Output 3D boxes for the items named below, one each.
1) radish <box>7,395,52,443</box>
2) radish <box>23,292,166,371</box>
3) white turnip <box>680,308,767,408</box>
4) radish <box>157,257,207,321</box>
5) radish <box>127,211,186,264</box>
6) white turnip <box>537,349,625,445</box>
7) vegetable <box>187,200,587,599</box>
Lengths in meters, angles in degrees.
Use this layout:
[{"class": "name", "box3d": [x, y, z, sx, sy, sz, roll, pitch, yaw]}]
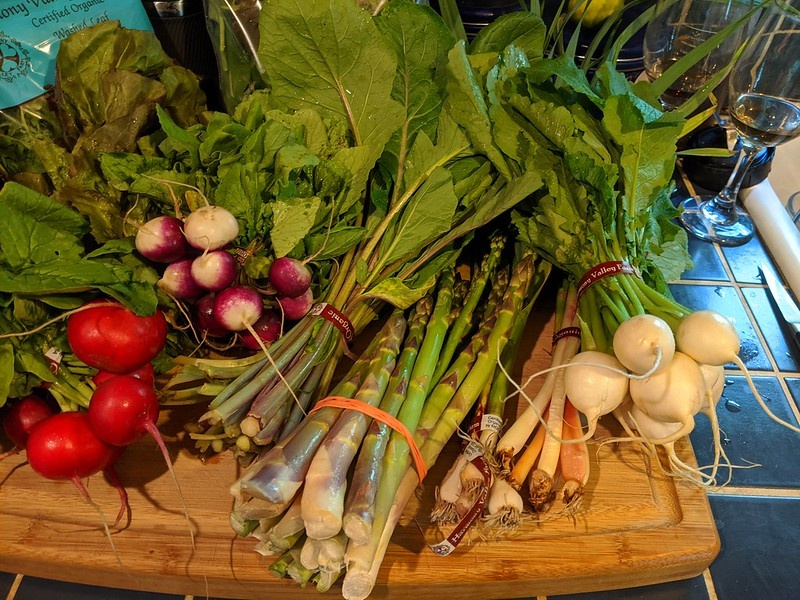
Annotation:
[{"class": "radish", "box3d": [-0.712, 0.231, 1.156, 0.055, 0.056, 0.068, 28, 37, -19]}, {"class": "radish", "box3d": [-0.570, 0.044, 1.125, 0.140, 0.152, 0.140, 7, 19, 12]}, {"class": "white turnip", "box3d": [0.619, 0.101, 1.142, 0.187, 0.096, 0.079, 28, 57, 22]}, {"class": "radish", "box3d": [-0.437, -0.034, 1.199, 0.088, 0.069, 0.075, 2, 76, 2]}, {"class": "radish", "box3d": [-0.463, -0.109, 1.201, 0.086, 0.128, 0.095, -20, 83, 5]}, {"class": "white turnip", "box3d": [0.388, 0.180, 1.257, 0.167, 0.163, 0.253, 7, 78, 27]}, {"class": "vegetable", "box3d": [0.042, 0.202, 1.377, 0.408, 0.305, 1.147, 39, 55, 1]}]
